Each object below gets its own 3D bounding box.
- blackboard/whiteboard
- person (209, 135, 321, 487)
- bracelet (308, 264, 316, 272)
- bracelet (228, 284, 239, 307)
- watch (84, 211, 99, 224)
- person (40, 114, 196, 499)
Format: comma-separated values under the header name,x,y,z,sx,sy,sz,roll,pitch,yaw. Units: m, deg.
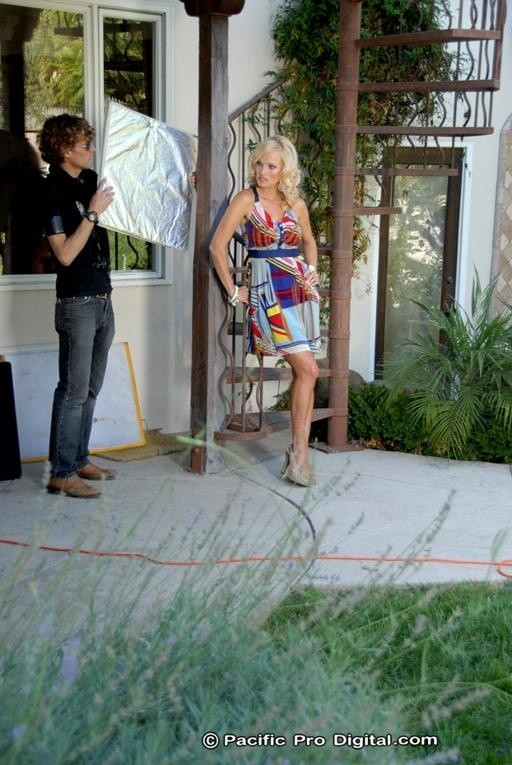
name,x,y,z,sx,sy,sz,roll,pitch,yaw
blackboard/whiteboard,-1.131,0.135,3.733,0.755,0.534,0.029,-8,6,-31
person,0.053,-0.364,3.510,0.622,1.923,0.426,1,6,-1
bracelet,0.325,-0.658,3.573,0.037,0.018,0.050,11,18,9
bracelet,-0.135,-0.484,3.524,0.045,0.113,0.086,29,23,28
watch,-0.800,-0.805,3.029,0.057,0.065,0.039,0,16,-8
person,-0.902,-0.415,3.249,0.522,2.064,0.486,-5,9,-43
